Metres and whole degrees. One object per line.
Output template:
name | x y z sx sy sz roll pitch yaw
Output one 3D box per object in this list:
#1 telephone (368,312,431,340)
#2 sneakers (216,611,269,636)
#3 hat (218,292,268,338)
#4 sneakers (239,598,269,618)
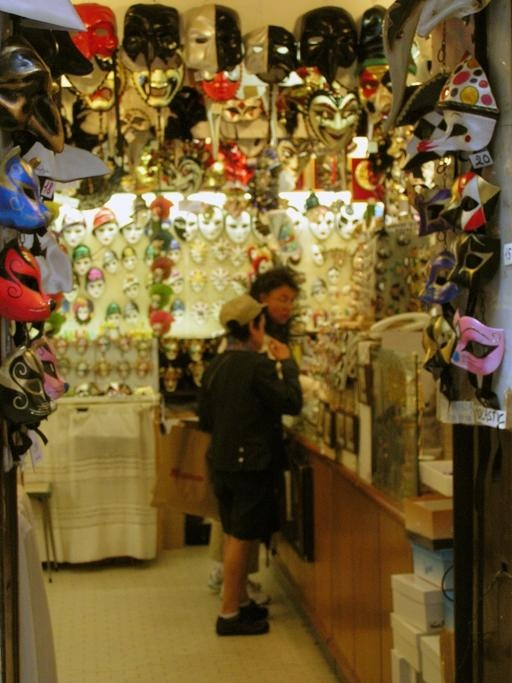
telephone | 0.475 -0.049 2.224 0.183 0.087 0.450 -2 -2 10
sneakers | -0.065 1.242 2.890 0.235 0.103 0.096 -1 -1 -9
hat | -0.037 -0.131 2.784 0.132 0.112 0.202 12 44 46
sneakers | -0.011 1.208 2.963 0.062 0.075 0.173 5 -1 40
